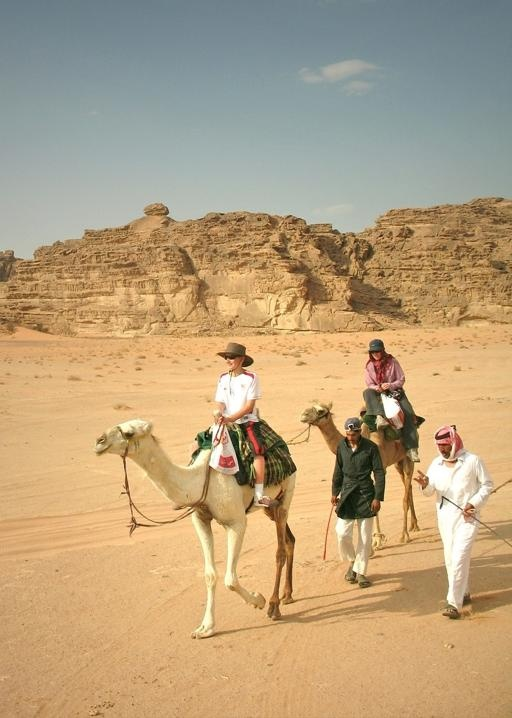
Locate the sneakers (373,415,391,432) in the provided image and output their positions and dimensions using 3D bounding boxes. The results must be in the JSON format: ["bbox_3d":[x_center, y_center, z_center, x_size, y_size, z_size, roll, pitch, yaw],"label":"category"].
[{"bbox_3d":[1.429,0.743,7.908,0.104,0.190,0.286,-23,-15,6],"label":"sneakers"}]

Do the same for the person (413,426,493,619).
[{"bbox_3d":[1.618,1.372,5.782,0.561,1.559,0.542,-7,4,-40],"label":"person"}]

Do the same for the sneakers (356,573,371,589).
[{"bbox_3d":[1.042,2.187,6.637,0.074,0.076,0.193,-4,-9,-5],"label":"sneakers"}]

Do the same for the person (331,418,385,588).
[{"bbox_3d":[1.006,1.414,6.744,0.514,1.650,0.680,-5,3,7],"label":"person"}]

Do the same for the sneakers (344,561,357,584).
[{"bbox_3d":[0.947,2.173,6.796,0.095,0.176,0.259,-2,-15,8],"label":"sneakers"}]

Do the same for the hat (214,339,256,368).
[{"bbox_3d":[-0.175,-0.095,6.423,0.293,0.122,0.314,6,-22,9],"label":"hat"}]

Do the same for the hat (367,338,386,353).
[{"bbox_3d":[1.471,-0.151,8.342,0.252,0.186,0.383,-3,-4,28],"label":"hat"}]

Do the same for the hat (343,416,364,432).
[{"bbox_3d":[0.937,0.653,6.703,0.126,0.124,0.169,-2,-7,13],"label":"hat"}]
